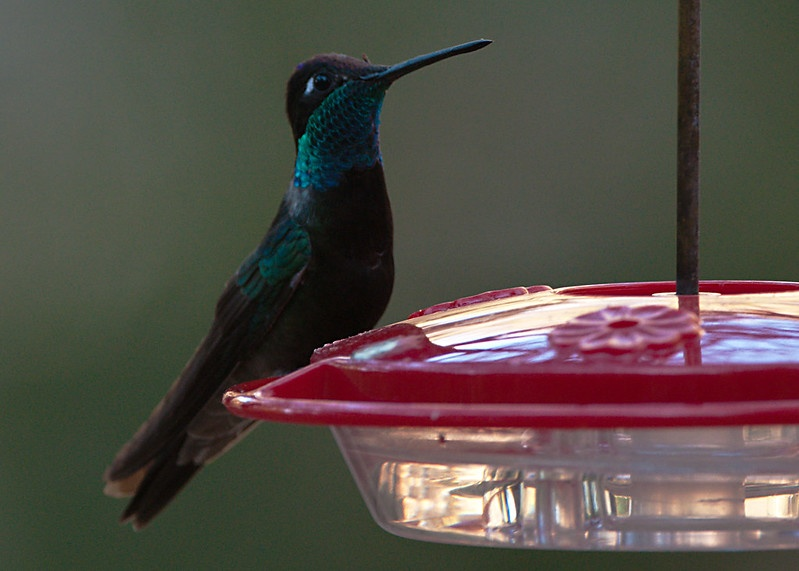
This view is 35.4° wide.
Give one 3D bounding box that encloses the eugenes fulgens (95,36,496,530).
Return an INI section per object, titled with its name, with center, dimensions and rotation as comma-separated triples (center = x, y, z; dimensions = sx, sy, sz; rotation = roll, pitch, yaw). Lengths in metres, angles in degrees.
[eugenes fulgens]
center = -0.112, -0.002, 1.276
dimensions = 0.528, 0.407, 0.179
rotation = -17, -16, 31
